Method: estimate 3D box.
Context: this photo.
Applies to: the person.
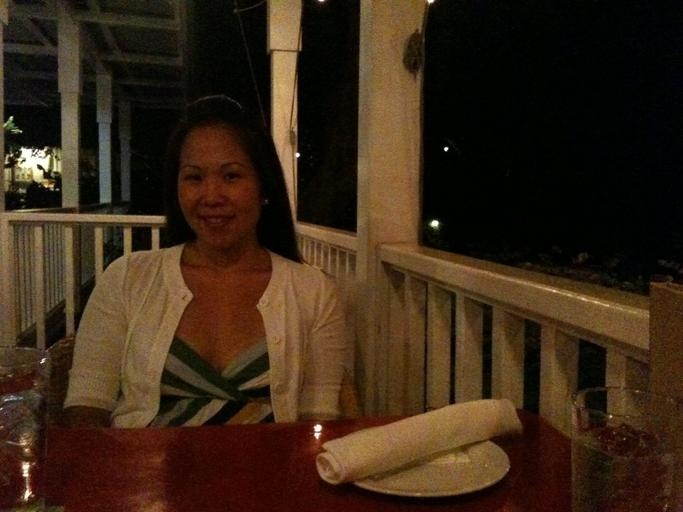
[{"bbox_3d":[-0.386,-0.011,2.399,1.161,1.604,0.992,1,-11,-14],"label":"person"}]
